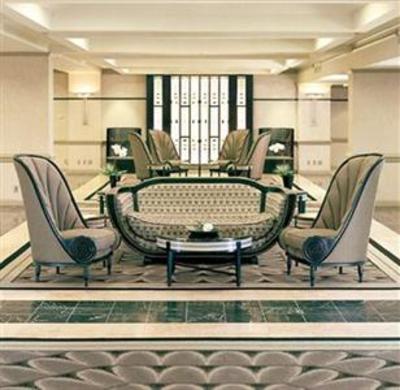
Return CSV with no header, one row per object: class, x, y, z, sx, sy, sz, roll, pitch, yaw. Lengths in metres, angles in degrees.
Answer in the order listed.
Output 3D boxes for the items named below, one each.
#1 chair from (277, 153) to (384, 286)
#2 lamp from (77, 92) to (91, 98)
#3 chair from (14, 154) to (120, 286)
chair,1.364,0.217,3.756,1.098,1.180,0.963,-4,2,11
lamp,-4.281,-3.653,13.089,0.444,0.208,0.134,-2,13,-14
chair,-1.361,0.253,3.633,0.918,1.327,0.804,1,13,2
